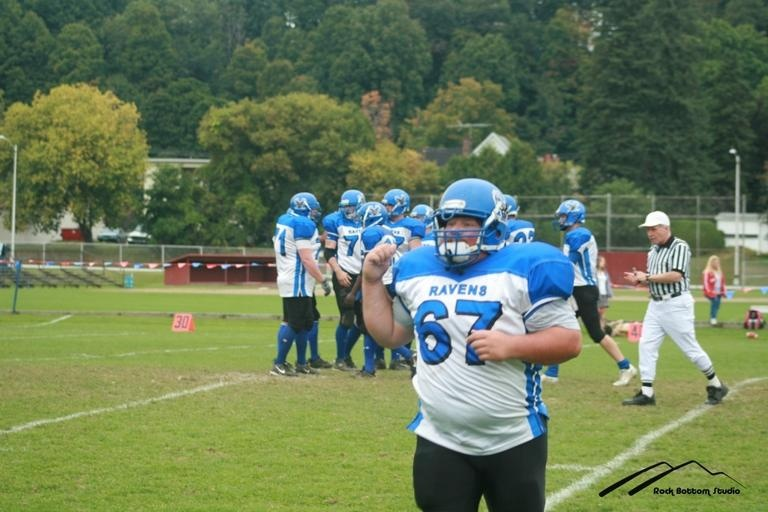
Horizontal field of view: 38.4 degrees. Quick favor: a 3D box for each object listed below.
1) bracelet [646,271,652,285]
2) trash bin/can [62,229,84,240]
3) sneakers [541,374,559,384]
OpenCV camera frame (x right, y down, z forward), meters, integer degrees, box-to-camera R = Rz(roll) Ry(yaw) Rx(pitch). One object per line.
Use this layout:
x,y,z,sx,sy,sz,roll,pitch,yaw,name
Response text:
8.933,0.724,37.405,0.128,0.282,0.247,9,-13,-31,bracelet
-29.194,-2.153,102.771,1.457,1.174,2.243,0,-3,-45,trash bin/can
5.803,4.324,38.820,0.681,0.249,0.249,6,2,3,sneakers
